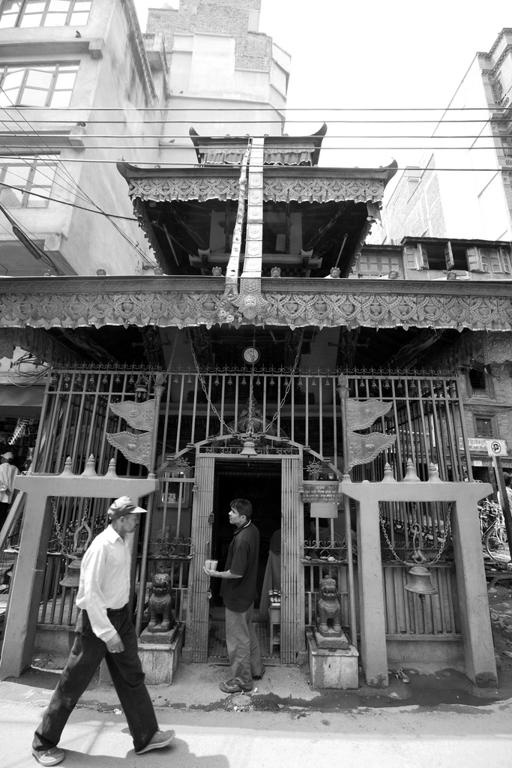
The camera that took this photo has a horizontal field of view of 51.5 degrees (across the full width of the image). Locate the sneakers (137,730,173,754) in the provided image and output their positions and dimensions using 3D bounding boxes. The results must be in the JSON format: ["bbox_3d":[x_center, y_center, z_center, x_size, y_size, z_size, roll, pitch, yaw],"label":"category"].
[{"bbox_3d":[-0.743,2.679,3.950,0.252,0.125,0.107,-7,-15,-15],"label":"sneakers"}]

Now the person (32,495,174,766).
[{"bbox_3d":[-1.119,1.827,4.025,0.950,1.825,0.528,3,-6,-24],"label":"person"}]

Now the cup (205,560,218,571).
[{"bbox_3d":[-0.442,1.872,5.405,0.115,0.128,0.112,2,-4,0],"label":"cup"}]

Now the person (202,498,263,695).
[{"bbox_3d":[-0.173,2.081,5.311,0.512,1.734,0.630,1,-5,1],"label":"person"}]

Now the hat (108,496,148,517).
[{"bbox_3d":[-1.026,0.992,4.321,0.255,0.162,0.179,2,-5,-18],"label":"hat"}]
